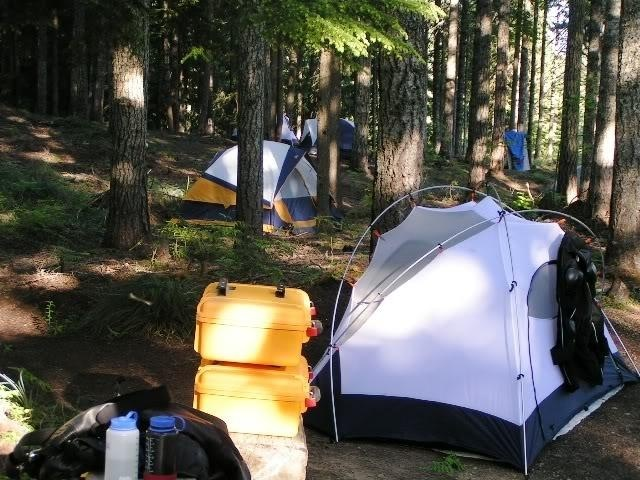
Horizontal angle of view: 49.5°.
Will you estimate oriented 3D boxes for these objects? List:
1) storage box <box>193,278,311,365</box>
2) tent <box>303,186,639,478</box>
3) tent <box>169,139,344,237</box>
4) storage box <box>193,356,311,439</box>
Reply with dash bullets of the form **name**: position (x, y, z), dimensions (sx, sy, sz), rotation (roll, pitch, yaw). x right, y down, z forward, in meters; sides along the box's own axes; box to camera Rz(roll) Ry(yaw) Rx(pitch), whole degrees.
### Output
- **storage box**: position (-0.719, 0.875, 7.260), dimensions (0.904, 0.647, 0.928), rotation (4, 4, -27)
- **tent**: position (2.042, 1.375, 9.337), dimensions (3.416, 2.622, 3.472), rotation (11, 24, 43)
- **tent**: position (-1.425, -1.176, 16.735), dimensions (2.455, 1.788, 2.559), rotation (6, 6, 33)
- **storage box**: position (-0.705, 1.638, 7.237), dimensions (0.785, 0.457, 0.851), rotation (2, 4, -2)
